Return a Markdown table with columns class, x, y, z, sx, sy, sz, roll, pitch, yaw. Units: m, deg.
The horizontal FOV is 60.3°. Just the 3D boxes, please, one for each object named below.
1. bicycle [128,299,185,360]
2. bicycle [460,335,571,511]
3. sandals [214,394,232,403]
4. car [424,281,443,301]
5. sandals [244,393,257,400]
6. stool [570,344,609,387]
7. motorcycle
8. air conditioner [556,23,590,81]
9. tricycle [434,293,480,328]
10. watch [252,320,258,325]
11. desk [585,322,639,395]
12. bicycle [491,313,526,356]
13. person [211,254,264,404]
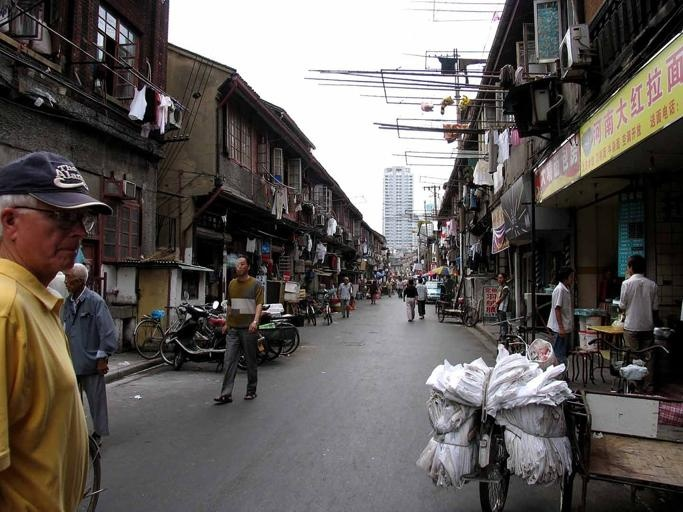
| class | x | y | z | sx | sy | sz | roll | pitch | yaw |
| --- | --- | --- | --- | --- | --- | --- | --- | --- | --- |
| bicycle | -3.807 | 1.599 | 12.641 | 1.418 | 1.066 | 0.626 | 0 | -9 | 22 |
| bicycle | 1.797 | 1.655 | 5.820 | 0.938 | 1.599 | 1.390 | -1 | -6 | 22 |
| sandals | -1.765 | 2.120 | 8.796 | 0.278 | 0.141 | 0.237 | 3 | -7 | -14 |
| car | 6.089 | 2.323 | 38.724 | 0.903 | 0.989 | 1.810 | 0 | -7 | -1 |
| sandals | -1.390 | 2.124 | 9.011 | 0.203 | 0.107 | 0.315 | 3 | -7 | -9 |
| stool | 4.168 | 1.883 | 9.954 | 0.456 | 0.584 | 0.492 | -8 | -11 | 33 |
| motorcycle | -2.321 | 1.540 | 12.144 | 2.486 | 1.739 | 1.336 | 1 | -6 | -4 |
| air conditioner | 4.063 | -3.438 | 10.185 | 0.431 | 0.839 | 0.840 | 0 | -6 | 14 |
| tricycle | 4.585 | 2.206 | 23.015 | 0.595 | 0.896 | 2.230 | 1 | -5 | -8 |
| watch | -1.299 | 0.982 | 8.852 | 0.071 | 0.089 | 0.059 | 7 | 7 | -11 |
| desk | 4.096 | 1.542 | 8.884 | 0.480 | 0.787 | 1.006 | -1 | 0 | 20 |
| bicycle | 2.948 | 1.368 | 9.986 | 0.354 | 0.394 | 0.576 | -17 | -12 | 32 |
| person | -1.551 | 1.110 | 8.997 | 0.626 | 2.205 | 0.518 | 2 | -5 | -14 |
